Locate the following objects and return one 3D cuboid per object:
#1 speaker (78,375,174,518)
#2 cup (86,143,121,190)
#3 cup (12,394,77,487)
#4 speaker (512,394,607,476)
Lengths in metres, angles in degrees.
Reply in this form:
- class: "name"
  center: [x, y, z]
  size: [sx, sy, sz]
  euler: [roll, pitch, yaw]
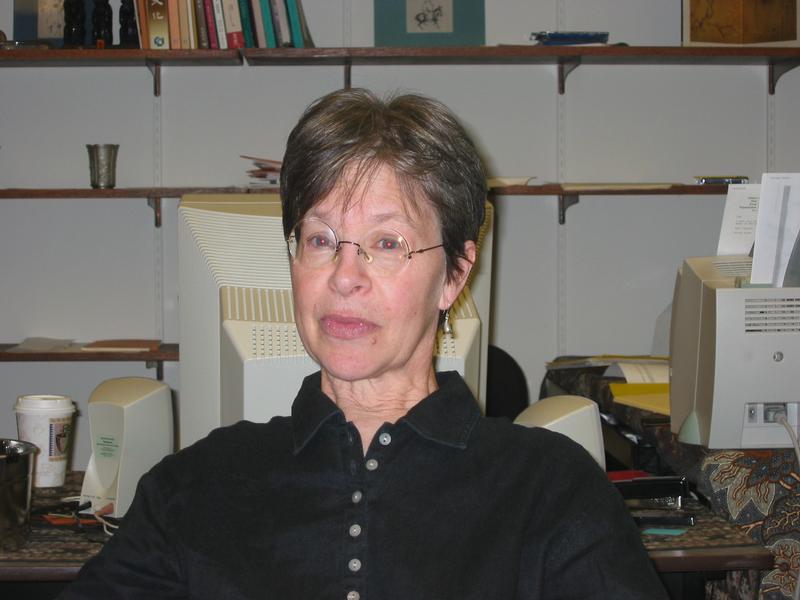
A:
- class: "speaker"
  center: [-0.651, 0.348, 1.981]
  size: [0.200, 0.304, 0.205]
  euler: [0, -4, 7]
- class: "cup"
  center: [-1.166, -0.515, 3.229]
  size: [0.165, 0.186, 0.164]
  euler: [1, 9, 0]
- class: "cup"
  center: [-0.896, 0.368, 2.054]
  size: [0.157, 0.220, 0.156]
  euler: [-6, -13, -1]
- class: "speaker"
  center: [0.360, 0.302, 1.849]
  size: [0.204, 0.188, 0.150]
  euler: [0, -20, 3]
